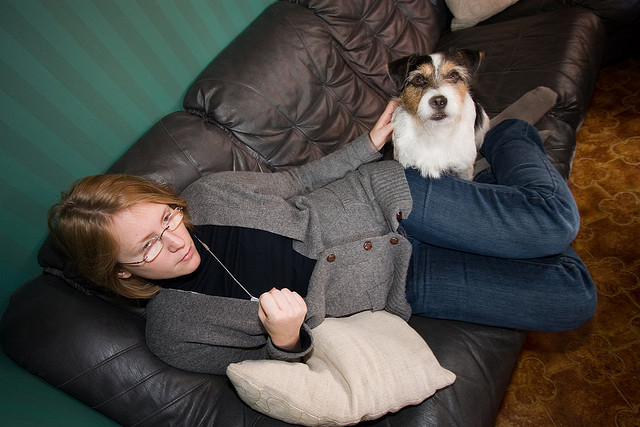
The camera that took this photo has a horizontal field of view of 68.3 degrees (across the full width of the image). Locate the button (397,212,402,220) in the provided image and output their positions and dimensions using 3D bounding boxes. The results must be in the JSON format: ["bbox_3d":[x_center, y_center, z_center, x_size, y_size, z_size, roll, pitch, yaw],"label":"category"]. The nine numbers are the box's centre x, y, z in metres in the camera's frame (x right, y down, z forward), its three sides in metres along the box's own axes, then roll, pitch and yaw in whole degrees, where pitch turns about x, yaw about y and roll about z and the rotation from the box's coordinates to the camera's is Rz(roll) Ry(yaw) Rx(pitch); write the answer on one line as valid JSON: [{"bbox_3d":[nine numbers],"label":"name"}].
[{"bbox_3d":[0.442,0.014,2.623,0.027,0.035,0.013,0,5,-6],"label":"button"}]

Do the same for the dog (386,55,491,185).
[{"bbox_3d":[0.718,-0.616,2.912,0.571,0.738,0.822,-2,39,21],"label":"dog"}]

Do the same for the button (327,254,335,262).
[{"bbox_3d":[0.059,0.237,2.547,0.044,0.033,0.032,-16,45,3],"label":"button"}]

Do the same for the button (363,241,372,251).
[{"bbox_3d":[0.259,0.175,2.586,0.050,0.035,0.030,-18,45,1],"label":"button"}]

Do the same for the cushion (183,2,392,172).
[{"bbox_3d":[-0.288,-0.774,3.565,1.251,1.193,0.466,-46,18,-7],"label":"cushion"}]

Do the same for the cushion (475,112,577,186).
[{"bbox_3d":[1.468,-0.479,3.339,0.557,0.200,0.545,32,84,13],"label":"cushion"}]
